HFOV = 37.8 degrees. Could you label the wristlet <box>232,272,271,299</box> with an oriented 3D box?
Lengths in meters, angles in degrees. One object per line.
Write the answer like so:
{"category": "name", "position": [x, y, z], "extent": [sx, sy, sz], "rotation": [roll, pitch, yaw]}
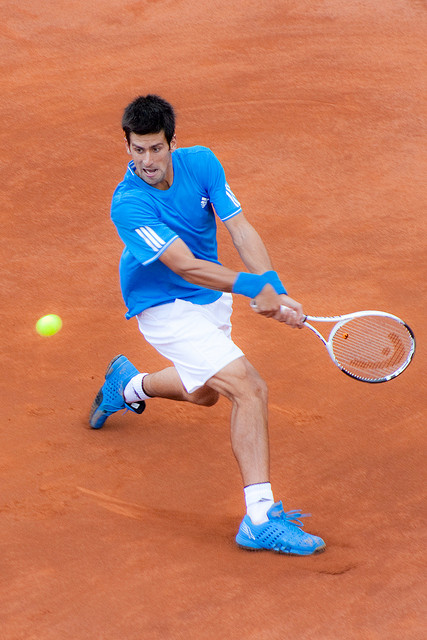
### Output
{"category": "wristlet", "position": [0.167, -0.150, 2.744], "extent": [0.074, 0.092, 0.144], "rotation": [-15, -24, 42]}

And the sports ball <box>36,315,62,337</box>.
{"category": "sports ball", "position": [-1.242, 0.033, 4.650], "extent": [0.168, 0.087, 0.162], "rotation": [-3, 46, 3]}

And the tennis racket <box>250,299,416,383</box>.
{"category": "tennis racket", "position": [0.567, 0.048, 3.215], "extent": [1.066, 0.367, 0.073], "rotation": [18, -14, -17]}

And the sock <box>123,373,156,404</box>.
{"category": "sock", "position": [-0.417, 0.377, 3.460], "extent": [0.169, 0.154, 0.135], "rotation": [5, -19, -42]}
